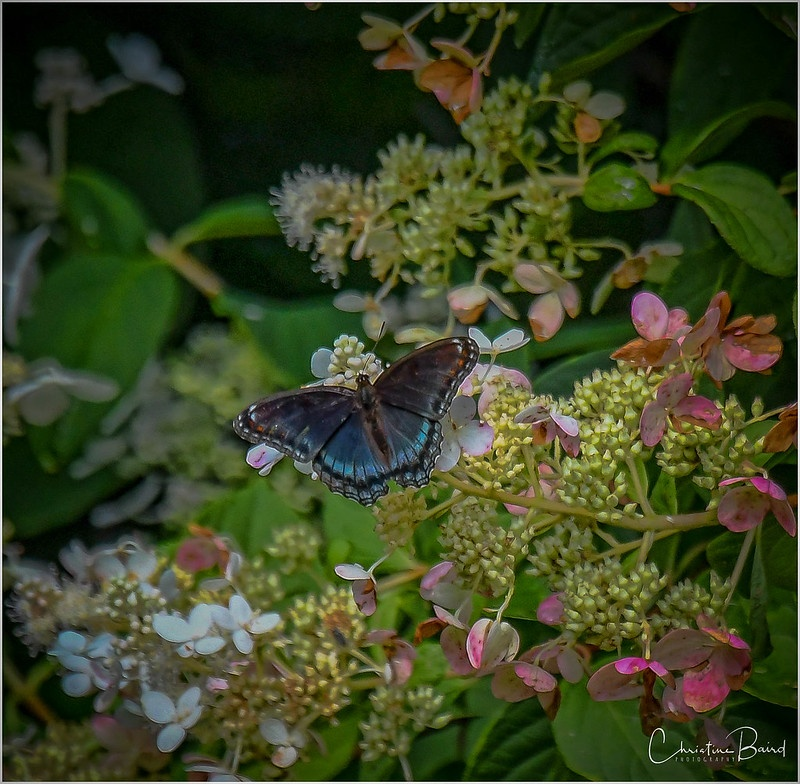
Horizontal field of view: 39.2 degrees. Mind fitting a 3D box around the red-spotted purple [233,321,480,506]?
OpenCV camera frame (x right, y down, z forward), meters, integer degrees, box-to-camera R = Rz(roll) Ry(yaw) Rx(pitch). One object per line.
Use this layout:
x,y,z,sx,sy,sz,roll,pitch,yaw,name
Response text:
-0.040,0.051,1.391,0.331,0.068,0.164,-17,75,19,red-spotted purple
